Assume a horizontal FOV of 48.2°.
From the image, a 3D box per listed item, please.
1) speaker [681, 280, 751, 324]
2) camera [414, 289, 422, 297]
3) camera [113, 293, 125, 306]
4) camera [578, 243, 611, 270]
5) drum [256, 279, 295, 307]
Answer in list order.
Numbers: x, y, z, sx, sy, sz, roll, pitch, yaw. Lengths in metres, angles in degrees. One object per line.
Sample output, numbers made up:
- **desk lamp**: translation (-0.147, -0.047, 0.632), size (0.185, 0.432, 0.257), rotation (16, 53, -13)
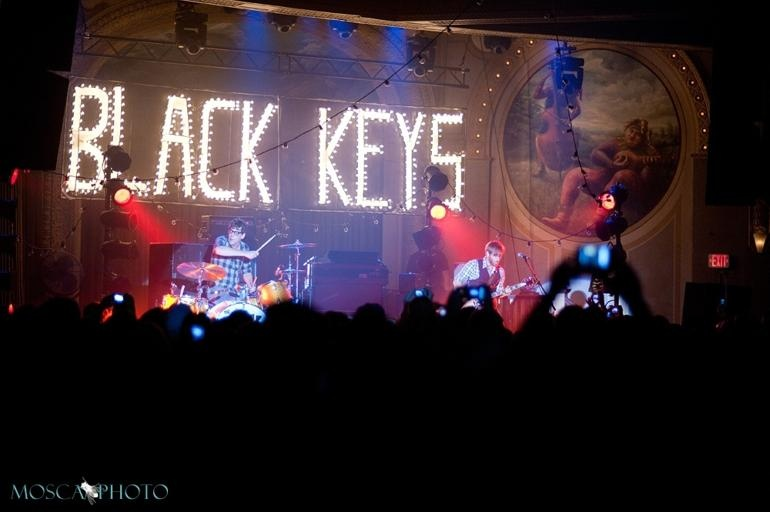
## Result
- **speaker**: translation (4.668, 0.658, 12.061), size (0.679, 0.609, 0.214), rotation (-2, 5, -41)
- **camera**: translation (0.417, 0.449, 10.722), size (0.127, 0.074, 0.132), rotation (-5, 6, 0)
- **camera**: translation (-3.072, 0.495, 9.945), size (0.174, 0.103, 0.195), rotation (5, 8, 13)
- **camera**: translation (3.589, 0.004, 14.626), size (0.354, 0.473, 0.647), rotation (2, -2, 12)
- **drum**: translation (-1.702, 0.548, 12.765), size (0.561, 0.446, 0.584), rotation (-11, -4, -1)
